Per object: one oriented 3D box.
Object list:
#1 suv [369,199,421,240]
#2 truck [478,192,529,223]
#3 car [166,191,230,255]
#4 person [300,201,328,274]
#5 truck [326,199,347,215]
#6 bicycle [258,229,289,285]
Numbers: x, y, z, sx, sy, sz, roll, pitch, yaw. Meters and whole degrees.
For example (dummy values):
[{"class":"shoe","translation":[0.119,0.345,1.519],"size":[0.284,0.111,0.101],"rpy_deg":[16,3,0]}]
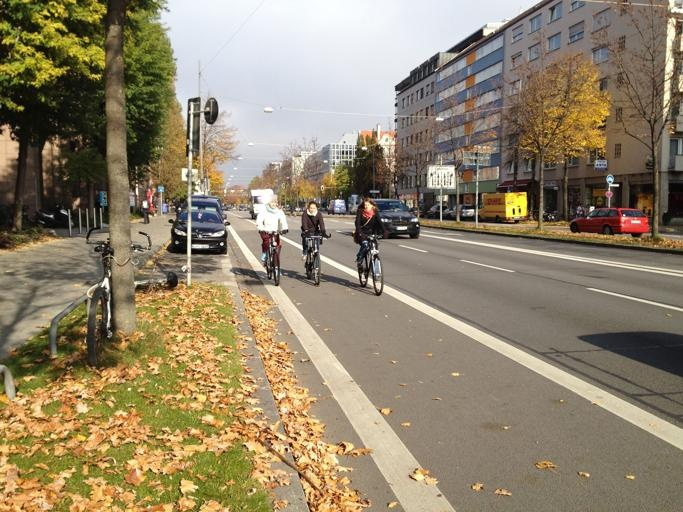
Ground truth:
[{"class":"suv","translation":[2.592,-1.681,27.092],"size":[1.278,1.462,3.442],"rpy_deg":[-1,1,-10]},{"class":"truck","translation":[13.149,-3.926,49.702],"size":[1.882,2.185,3.967],"rpy_deg":[-1,10,-14]},{"class":"car","translation":[-4.768,-1.186,21.111],"size":[1.427,1.390,3.574],"rpy_deg":[-1,3,-9]},{"class":"person","translation":[-0.702,-0.478,14.178],"size":[0.480,1.641,1.470],"rpy_deg":[-2,15,-15]},{"class":"truck","translation":[-0.432,-5.963,76.606],"size":[1.650,1.913,3.045],"rpy_deg":[0,9,-12]},{"class":"bicycle","translation":[-1.534,0.047,13.965],"size":[0.359,1.167,1.180],"rpy_deg":[1,8,-7]}]
